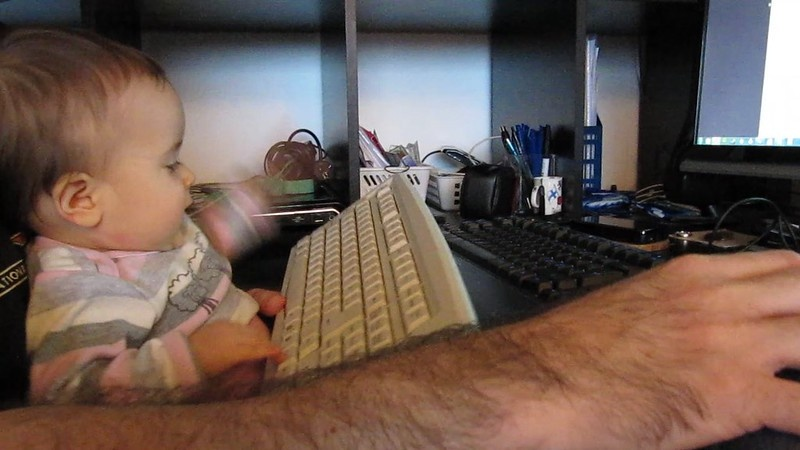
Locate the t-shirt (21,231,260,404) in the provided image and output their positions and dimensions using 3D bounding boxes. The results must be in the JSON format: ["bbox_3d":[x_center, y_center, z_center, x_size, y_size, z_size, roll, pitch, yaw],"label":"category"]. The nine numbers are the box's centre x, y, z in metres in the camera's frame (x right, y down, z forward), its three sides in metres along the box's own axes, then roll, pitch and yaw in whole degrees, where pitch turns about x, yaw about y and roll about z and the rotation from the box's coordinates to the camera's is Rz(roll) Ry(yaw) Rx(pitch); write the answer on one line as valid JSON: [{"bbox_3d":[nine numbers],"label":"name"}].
[{"bbox_3d":[-0.325,0.115,0.731,0.189,0.086,0.289,0,14,-1],"label":"t-shirt"}]

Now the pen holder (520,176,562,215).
[{"bbox_3d":[0.304,-0.059,1.216,0.099,0.090,0.056,-3,12,-15],"label":"pen holder"}]
